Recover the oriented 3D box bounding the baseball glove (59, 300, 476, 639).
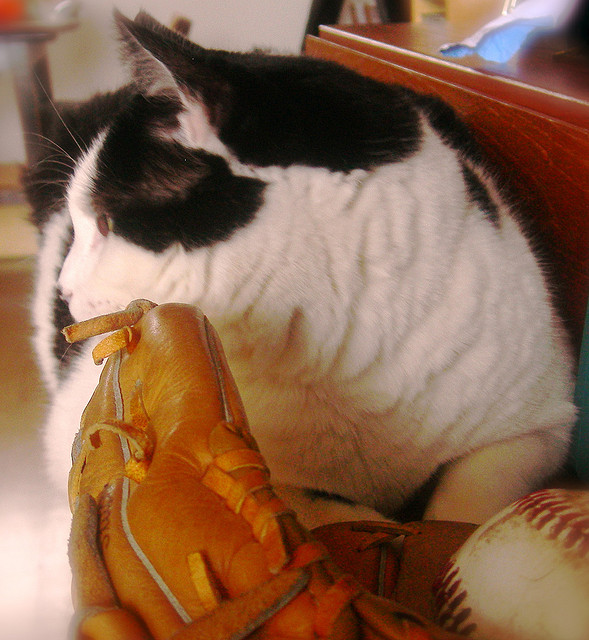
[{"bbox_3d":[-0.088,0.179,0.820,0.330,0.142,0.390,-9,65,0],"label":"baseball glove"}]
